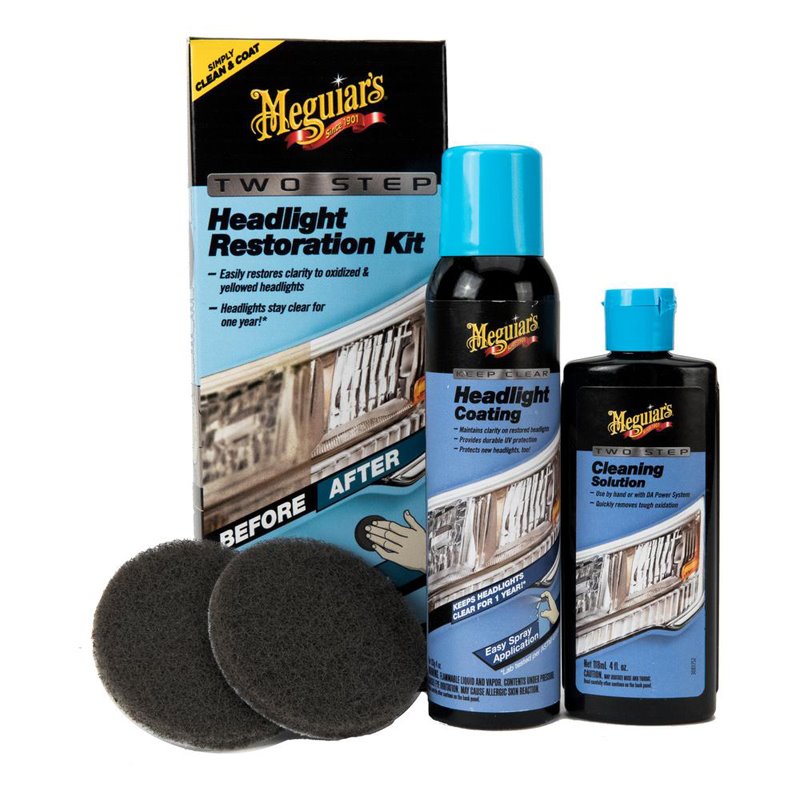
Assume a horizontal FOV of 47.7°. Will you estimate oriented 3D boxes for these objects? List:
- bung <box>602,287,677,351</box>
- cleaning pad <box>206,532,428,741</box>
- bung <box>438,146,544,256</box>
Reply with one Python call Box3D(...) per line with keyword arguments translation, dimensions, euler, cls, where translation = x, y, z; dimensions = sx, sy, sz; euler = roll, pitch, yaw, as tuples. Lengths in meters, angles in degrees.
Box3D(translation=(0.380, -0.122, 1.395), dimensions=(0.112, 0.084, 0.110), euler=(-3, 6, -37), cls="bung")
Box3D(translation=(-0.124, 0.352, 1.460), dimensions=(0.393, 0.336, 0.086), euler=(-25, 6, 34), cls="cleaning pad")
Box3D(translation=(0.144, -0.302, 1.400), dimensions=(0.184, 0.159, 0.165), euler=(-1, 7, -9), cls="bung")
